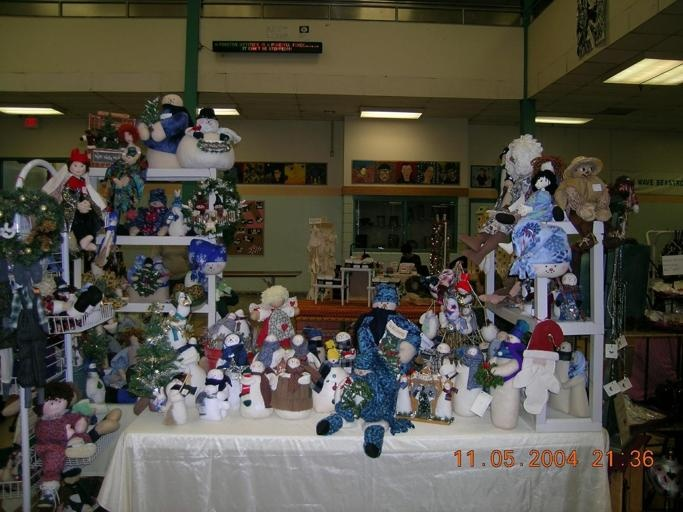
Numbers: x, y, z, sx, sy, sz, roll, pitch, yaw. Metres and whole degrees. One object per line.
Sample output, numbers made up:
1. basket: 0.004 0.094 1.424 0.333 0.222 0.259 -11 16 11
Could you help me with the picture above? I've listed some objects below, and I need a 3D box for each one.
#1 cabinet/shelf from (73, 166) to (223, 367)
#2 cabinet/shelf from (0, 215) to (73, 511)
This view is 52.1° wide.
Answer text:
1. cabinet/shelf: -1.631 0.095 6.495 1.470 1.613 1.163 0 -2 1
2. cabinet/shelf: -2.266 0.785 5.078 0.384 2.171 0.225 0 1 -30
